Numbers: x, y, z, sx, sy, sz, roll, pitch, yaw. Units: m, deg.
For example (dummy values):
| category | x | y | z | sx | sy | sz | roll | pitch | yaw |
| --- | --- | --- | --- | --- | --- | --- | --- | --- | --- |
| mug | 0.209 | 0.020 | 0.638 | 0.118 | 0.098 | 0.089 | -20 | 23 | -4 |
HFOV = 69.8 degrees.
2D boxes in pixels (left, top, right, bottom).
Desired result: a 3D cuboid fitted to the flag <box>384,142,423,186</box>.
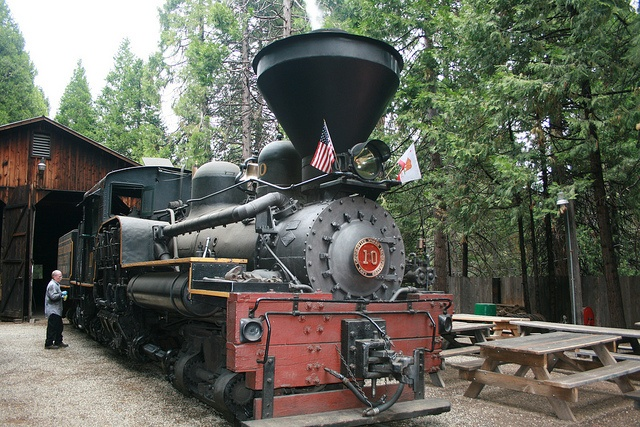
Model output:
| category | x | y | z | sx | sy | sz | roll | pitch | yaw |
| --- | --- | --- | --- | --- | --- | --- | --- | --- | --- |
| flag | 1.768 | -1.036 | 9.080 | 0.621 | 1.092 | 0.071 | 2 | -29 | 30 |

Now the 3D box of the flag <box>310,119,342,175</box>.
| category | x | y | z | sx | sy | sz | roll | pitch | yaw |
| --- | --- | --- | --- | --- | --- | --- | --- | --- | --- |
| flag | 0.103 | -1.210 | 8.060 | 0.459 | 1.004 | 0.106 | 7 | -28 | -10 |

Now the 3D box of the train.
| category | x | y | z | sx | sy | sz | roll | pitch | yaw |
| --- | --- | --- | --- | --- | --- | --- | --- | --- | --- |
| train | -1.568 | 0.104 | 9.415 | 8.022 | 6.676 | 3.276 | -3 | -4 | 45 |
